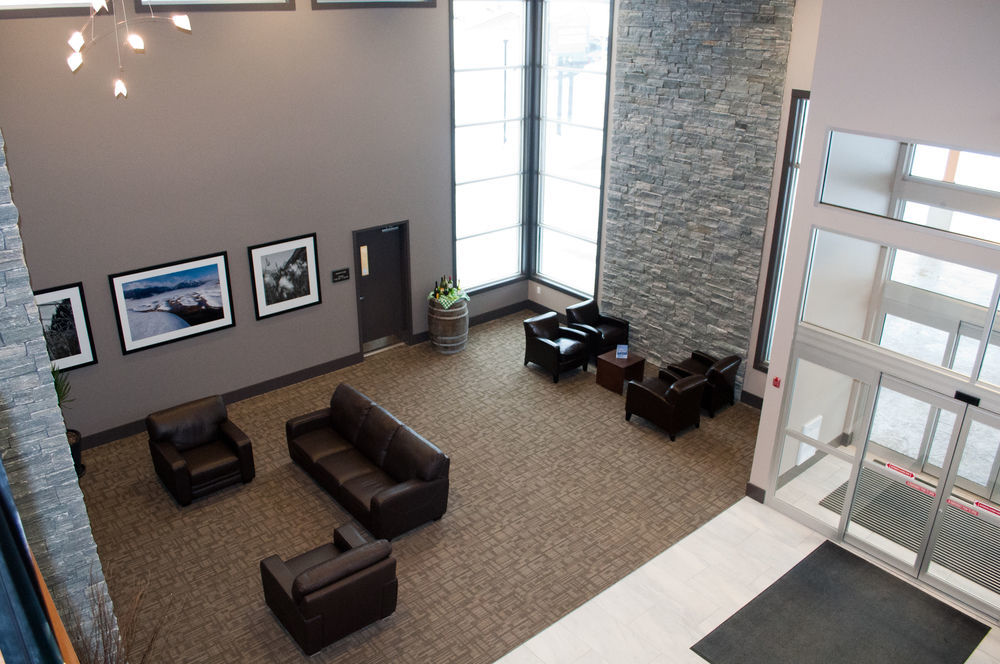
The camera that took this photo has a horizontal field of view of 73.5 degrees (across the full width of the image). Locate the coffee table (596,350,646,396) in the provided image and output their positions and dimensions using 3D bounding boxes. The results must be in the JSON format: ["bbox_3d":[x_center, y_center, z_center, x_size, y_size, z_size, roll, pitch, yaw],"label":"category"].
[{"bbox_3d":[2.524,0.753,13.745,0.937,0.713,0.817,-22,33,-35],"label":"coffee table"}]

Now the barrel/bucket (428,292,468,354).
[{"bbox_3d":[-1.128,-0.150,14.853,0.863,1.157,0.554,-7,30,-9],"label":"barrel/bucket"}]

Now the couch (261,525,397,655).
[{"bbox_3d":[-2.377,3.425,9.430,1.653,1.544,1.497,-20,45,-30],"label":"couch"}]

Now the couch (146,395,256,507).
[{"bbox_3d":[-5.022,2.055,11.486,1.682,1.630,1.697,-19,35,-33],"label":"couch"}]
